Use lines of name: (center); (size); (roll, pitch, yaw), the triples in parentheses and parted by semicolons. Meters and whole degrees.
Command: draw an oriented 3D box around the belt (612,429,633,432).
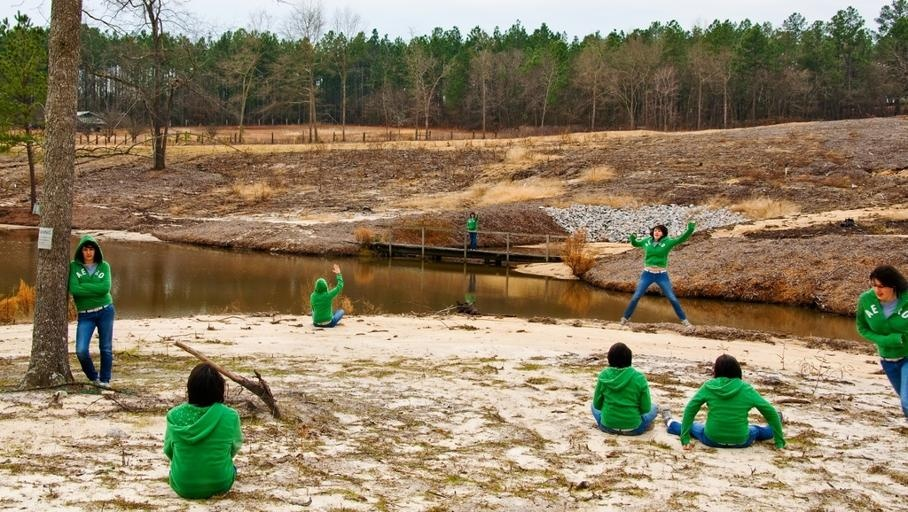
belt: (9.171, 9.461, 62.752); (0.909, 0.149, 0.126); (1, 4, 8)
